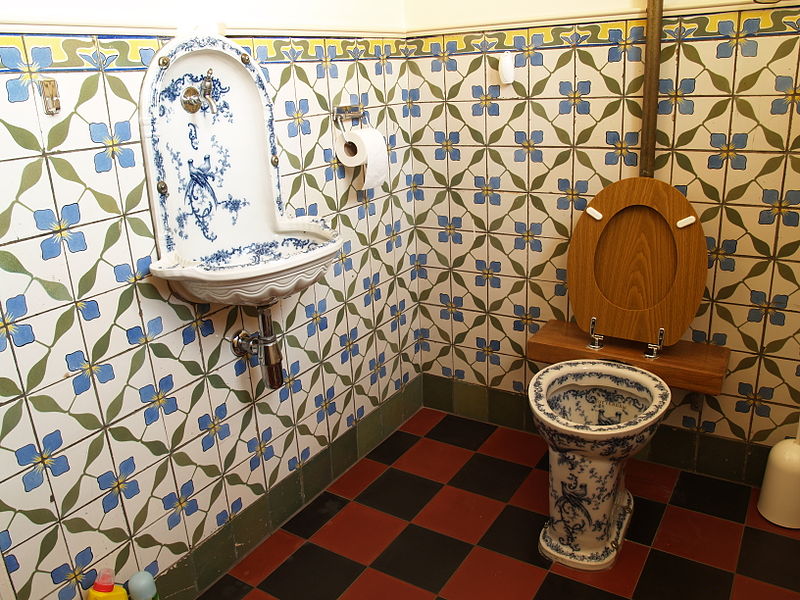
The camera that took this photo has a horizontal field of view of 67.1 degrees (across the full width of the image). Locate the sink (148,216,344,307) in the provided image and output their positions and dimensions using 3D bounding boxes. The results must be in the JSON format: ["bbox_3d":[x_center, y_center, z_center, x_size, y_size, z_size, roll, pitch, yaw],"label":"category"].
[{"bbox_3d":[-0.438,-0.082,1.839,0.556,0.197,0.318,-22,32,-39],"label":"sink"}]

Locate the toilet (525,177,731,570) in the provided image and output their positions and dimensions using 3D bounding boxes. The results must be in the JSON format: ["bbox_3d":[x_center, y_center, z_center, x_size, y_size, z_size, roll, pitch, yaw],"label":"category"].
[{"bbox_3d":[0.762,0.221,2.137,0.690,1.198,0.756,14,27,30],"label":"toilet"}]

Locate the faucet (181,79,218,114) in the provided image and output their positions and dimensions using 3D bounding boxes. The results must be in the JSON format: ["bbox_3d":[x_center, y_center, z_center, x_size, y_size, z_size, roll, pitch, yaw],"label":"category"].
[{"bbox_3d":[-0.596,-0.608,1.782,0.028,0.099,0.116,13,27,30],"label":"faucet"}]

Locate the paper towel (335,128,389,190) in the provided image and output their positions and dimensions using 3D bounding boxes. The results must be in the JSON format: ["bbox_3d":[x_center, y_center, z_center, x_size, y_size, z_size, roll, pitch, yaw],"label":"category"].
[{"bbox_3d":[-0.145,-0.533,2.289,0.198,0.220,0.107,-3,23,-6],"label":"paper towel"}]
